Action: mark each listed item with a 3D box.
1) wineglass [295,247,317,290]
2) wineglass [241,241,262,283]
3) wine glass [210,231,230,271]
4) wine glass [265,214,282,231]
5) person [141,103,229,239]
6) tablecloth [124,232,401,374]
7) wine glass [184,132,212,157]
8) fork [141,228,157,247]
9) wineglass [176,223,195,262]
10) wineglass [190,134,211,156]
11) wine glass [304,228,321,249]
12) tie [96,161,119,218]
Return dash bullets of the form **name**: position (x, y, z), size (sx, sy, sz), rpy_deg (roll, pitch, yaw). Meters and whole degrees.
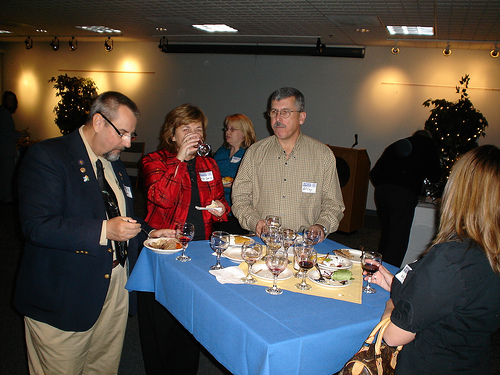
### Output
- **wineglass**: position (0.312, 0.460, 1.821), size (0.092, 0.188, 0.099), rpy_deg (8, -2, -32)
- **wineglass**: position (0.039, 0.429, 1.934), size (0.138, 0.265, 0.138), rpy_deg (-2, 14, 13)
- **wine glass**: position (-0.183, 0.399, 2.024), size (0.121, 0.246, 0.121), rpy_deg (5, 9, -9)
- **wine glass**: position (0.169, 0.252, 2.276), size (0.093, 0.101, 0.089), rpy_deg (0, 2, -12)
- **person**: position (-0.508, -0.054, 2.615), size (0.677, 1.189, 0.954), rpy_deg (-2, 14, -14)
- **tablecloth**: position (0.203, 0.578, 1.582), size (0.771, 0.200, 0.783), rpy_deg (4, 13, -33)
- **wine glass**: position (-0.392, -0.341, 2.699), size (0.139, 0.112, 0.189), rpy_deg (6, 6, -30)
- **fork**: position (-0.704, 0.355, 2.281), size (0.031, 0.038, 0.219), rpy_deg (28, 20, -49)
- **wineglass**: position (-0.428, 0.357, 2.137), size (0.122, 0.263, 0.128), rpy_deg (7, 13, 11)
- **wineglass**: position (-0.397, -0.339, 2.673), size (0.134, 0.203, 0.300), rpy_deg (0, 14, -4)
- **wine glass**: position (0.403, 0.330, 2.088), size (0.087, 0.157, 0.098), rpy_deg (2, 12, -7)
- **tie**: position (-0.887, 0.027, 2.029), size (0.044, 0.365, 0.048), rpy_deg (-9, 2, -37)
